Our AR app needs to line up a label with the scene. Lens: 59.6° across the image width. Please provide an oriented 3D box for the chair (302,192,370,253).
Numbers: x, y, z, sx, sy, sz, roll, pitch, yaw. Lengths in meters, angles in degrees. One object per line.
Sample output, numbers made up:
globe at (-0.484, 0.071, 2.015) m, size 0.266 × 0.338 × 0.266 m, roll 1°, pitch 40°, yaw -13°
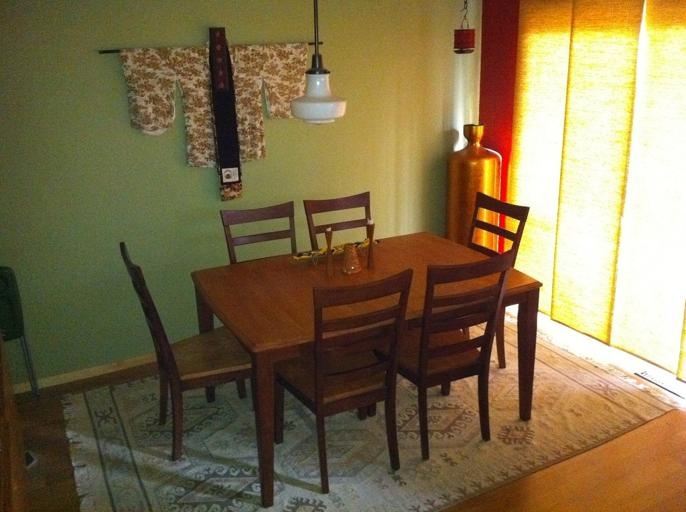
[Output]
chair at (-0.077, -0.266, 4.484) m, size 0.399 × 0.616 × 0.417 m, roll -8°, pitch 26°, yaw -17°

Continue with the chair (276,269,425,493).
chair at (-0.005, 0.627, 3.320) m, size 0.810 × 1.232 × 0.566 m, roll -7°, pitch 23°, yaw -8°

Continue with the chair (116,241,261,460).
chair at (-0.910, 0.512, 3.587) m, size 0.560 × 1.240 × 0.734 m, roll -12°, pitch 24°, yaw -19°

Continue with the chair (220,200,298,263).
chair at (-0.644, -0.191, 4.380) m, size 0.358 × 0.553 × 0.369 m, roll -11°, pitch 25°, yaw -23°
